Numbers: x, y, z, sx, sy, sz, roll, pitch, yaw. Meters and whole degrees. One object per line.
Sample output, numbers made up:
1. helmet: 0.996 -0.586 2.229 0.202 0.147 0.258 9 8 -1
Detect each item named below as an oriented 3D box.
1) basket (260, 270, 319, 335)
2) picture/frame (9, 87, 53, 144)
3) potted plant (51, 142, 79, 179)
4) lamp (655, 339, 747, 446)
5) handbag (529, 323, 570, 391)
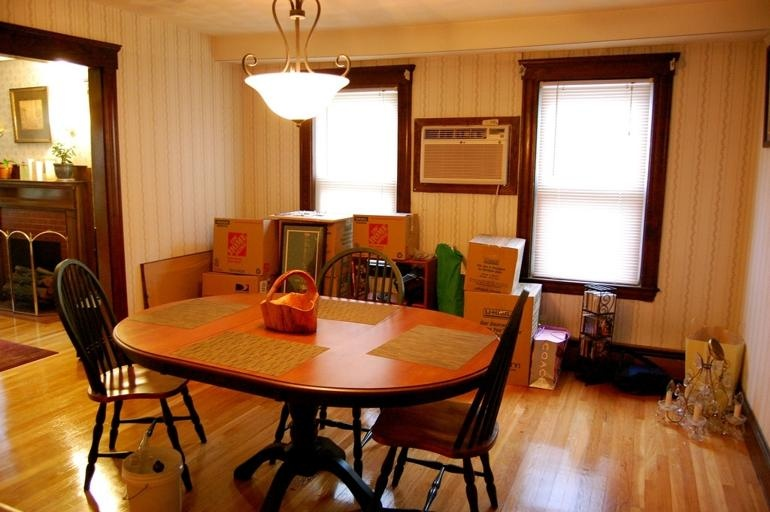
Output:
1. basket: -0.593 0.290 3.602 0.419 0.383 0.332 -2 -3 43
2. picture/frame: -4.157 -1.686 6.652 0.663 0.742 0.052 6 17 21
3. potted plant: -3.617 -1.084 6.365 0.234 0.407 0.622 -4 12 -29
4. lamp: 2.543 1.056 4.613 0.716 0.717 0.704 3 8 2
5. handbag: 1.467 0.907 5.052 0.279 0.428 0.485 5 11 19
